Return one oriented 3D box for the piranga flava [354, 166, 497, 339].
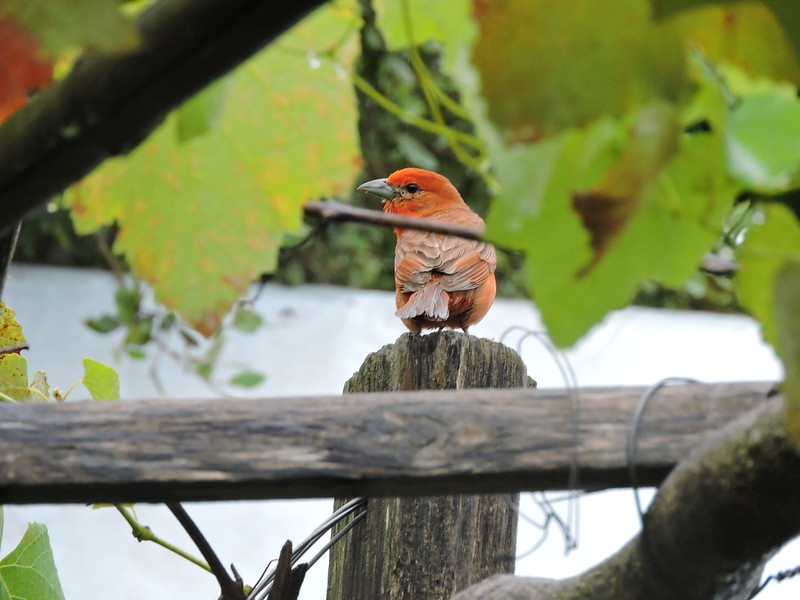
[{"bbox_3d":[0.135,-0.113,4.695,0.233,0.427,0.548,-3,4,19],"label":"piranga flava"}]
